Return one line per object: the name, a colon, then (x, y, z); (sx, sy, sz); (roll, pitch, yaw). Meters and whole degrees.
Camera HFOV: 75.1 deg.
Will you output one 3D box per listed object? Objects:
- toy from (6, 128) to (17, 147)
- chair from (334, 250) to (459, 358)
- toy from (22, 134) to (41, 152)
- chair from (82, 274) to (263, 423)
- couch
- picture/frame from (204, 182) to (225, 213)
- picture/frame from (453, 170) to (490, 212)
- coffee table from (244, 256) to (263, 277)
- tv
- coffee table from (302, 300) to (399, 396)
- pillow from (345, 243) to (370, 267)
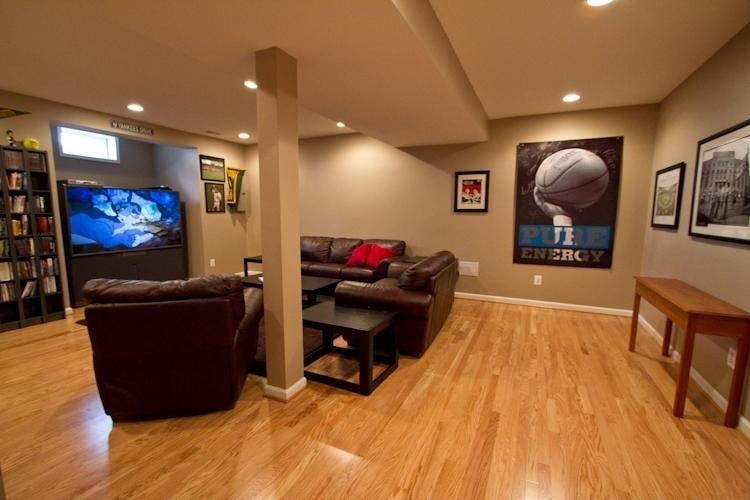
toy: (-4.315, -1.349, 5.791); (0.099, 0.205, 0.113); (-5, 8, -44)
chair: (0.357, 0.561, 6.115); (1.112, 1.121, 1.946); (4, 9, 19)
toy: (-4.150, -1.290, 5.890); (0.171, 0.175, 0.131); (-6, 15, -31)
chair: (-1.941, 0.822, 4.937); (1.480, 1.287, 1.589); (0, 8, 6)
couch: (-0.571, 0.222, 7.555); (2.220, 0.815, 0.759); (4, 7, 34)
picture/frame: (-2.662, -0.879, 8.013); (0.040, 0.553, 0.505); (-1, 3, 21)
picture/frame: (1.381, -0.861, 6.877); (0.566, 0.687, 0.044); (2, 4, 23)
coffee table: (-1.976, 0.251, 7.876); (0.332, 0.215, 0.175); (-2, 4, -41)
tv: (-3.679, -0.425, 7.186); (0.173, 0.945, 1.493); (-16, -5, 42)
coffee table: (-0.304, 0.929, 5.077); (0.918, 0.676, 0.803); (2, 8, 27)
pillow: (-0.238, 0.071, 7.276); (0.109, 0.330, 0.347); (35, -11, -37)
